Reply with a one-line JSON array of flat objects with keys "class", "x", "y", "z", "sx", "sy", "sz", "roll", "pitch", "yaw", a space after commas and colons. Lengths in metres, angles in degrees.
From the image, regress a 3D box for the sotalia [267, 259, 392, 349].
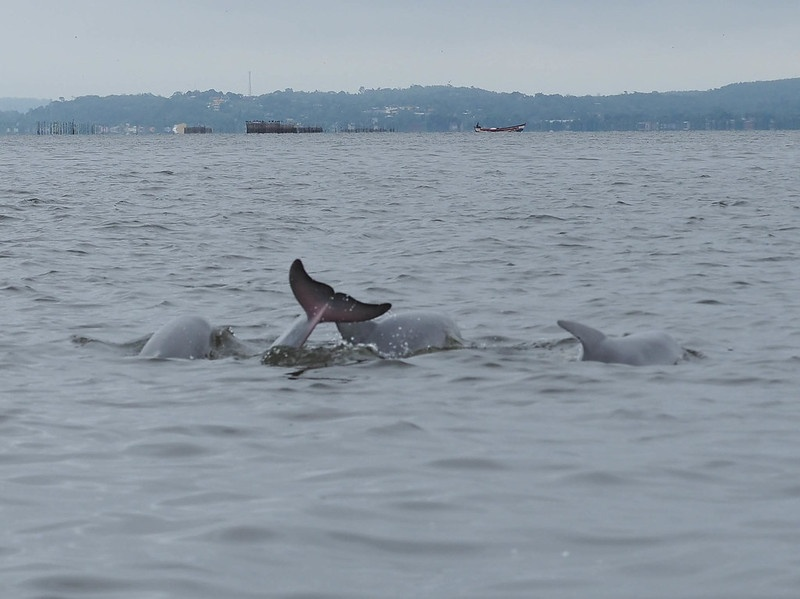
[{"class": "sotalia", "x": -1.085, "y": 0.096, "z": 16.653, "sx": 1.545, "sy": 1.208, "sz": 0.932, "roll": 11, "pitch": 17, "yaw": 39}]
